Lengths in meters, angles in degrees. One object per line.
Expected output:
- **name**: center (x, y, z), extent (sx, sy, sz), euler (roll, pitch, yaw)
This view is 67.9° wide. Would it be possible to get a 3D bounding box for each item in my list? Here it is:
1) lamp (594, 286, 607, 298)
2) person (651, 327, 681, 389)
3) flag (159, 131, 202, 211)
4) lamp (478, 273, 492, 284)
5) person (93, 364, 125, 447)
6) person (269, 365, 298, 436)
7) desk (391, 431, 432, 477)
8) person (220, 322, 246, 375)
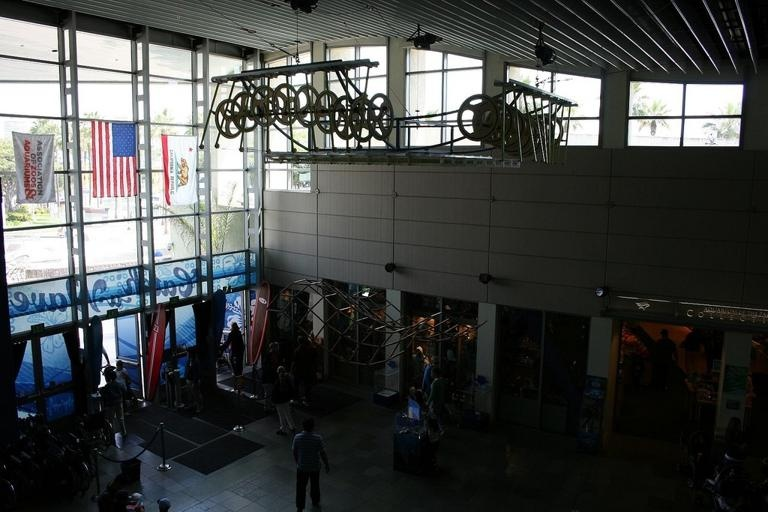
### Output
- **lamp**: center (4.776, 0.781, 12.550), extent (0.121, 0.219, 0.216), euler (5, -14, -25)
- **person**: center (7.007, 2.572, 14.149), extent (0.644, 1.585, 0.296), euler (0, 14, 1)
- **flag**: center (-5.304, -2.222, 14.941), extent (0.986, 1.874, 0.422), euler (-8, 16, -29)
- **lamp**: center (2.421, 0.538, 13.581), extent (0.295, 0.276, 0.234), euler (2, 0, 41)
- **person**: center (-6.187, 3.383, 13.060), extent (0.508, 1.552, 0.805), euler (-7, 16, -27)
- **person**: center (-2.323, 3.280, 13.194), extent (0.509, 1.749, 0.972), euler (-3, 14, -10)
- **desk**: center (0.612, 4.089, 12.101), extent (0.832, 0.826, 0.834), euler (2, 2, 4)
- **person**: center (-3.937, 2.508, 14.921), extent (0.531, 1.435, 0.957), euler (-4, 15, -15)
